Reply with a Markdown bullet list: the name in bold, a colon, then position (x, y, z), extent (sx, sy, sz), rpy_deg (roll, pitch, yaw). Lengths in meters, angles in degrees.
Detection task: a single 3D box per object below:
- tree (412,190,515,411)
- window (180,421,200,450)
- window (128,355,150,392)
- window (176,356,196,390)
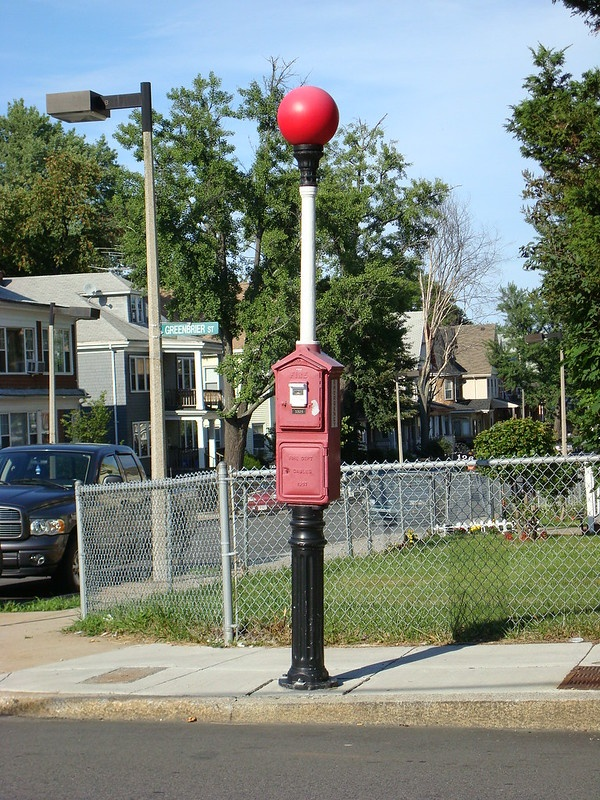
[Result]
- **tree**: position (6.895, -4.210, 58.249), extent (3.135, 17.668, 4.949), rpy_deg (-4, -6, 13)
- **window**: position (-4.611, 1.552, 50.920), extent (0.072, 1.356, 1.230), rpy_deg (-4, -2, 25)
- **window**: position (-5.981, -0.940, 45.055), extent (0.177, 1.424, 1.640), rpy_deg (-2, 0, 19)
- **window**: position (-4.884, -1.099, 52.165), extent (0.145, 1.490, 1.471), rpy_deg (-3, -2, 23)
